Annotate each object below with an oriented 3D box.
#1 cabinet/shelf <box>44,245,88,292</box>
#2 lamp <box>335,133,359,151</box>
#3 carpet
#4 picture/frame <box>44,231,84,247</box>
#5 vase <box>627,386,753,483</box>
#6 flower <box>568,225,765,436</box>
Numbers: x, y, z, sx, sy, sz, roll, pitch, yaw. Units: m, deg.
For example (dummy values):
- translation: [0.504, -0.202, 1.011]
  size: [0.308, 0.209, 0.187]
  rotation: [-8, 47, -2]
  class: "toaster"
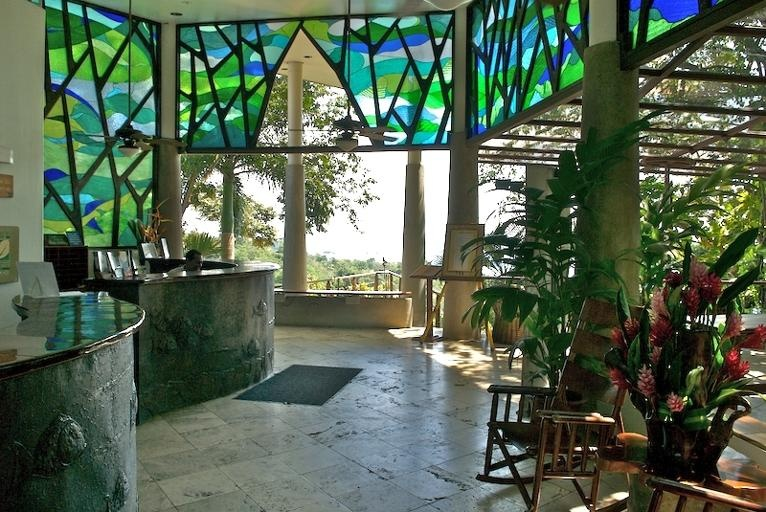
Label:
- translation: [-4.252, 0.164, 7.522]
  size: [0.241, 0.652, 0.671]
  rotation: [-1, -1, 31]
  class: "cabinet/shelf"
- translation: [-0.485, -1.583, 7.759]
  size: [0.230, 0.054, 0.232]
  rotation: [13, -11, -32]
  class: "lamp"
- translation: [-1.037, 1.689, 7.461]
  size: [1.145, 0.041, 1.695]
  rotation: [2, 6, 16]
  class: "carpet"
- translation: [-4.853, -0.257, 8.605]
  size: [0.430, 0.199, 0.781]
  rotation: [2, 6, 15]
  class: "picture/frame"
- translation: [1.865, 1.081, 3.354]
  size: [0.324, 0.502, 0.539]
  rotation: [11, -9, -43]
  class: "vase"
- translation: [2.033, 0.475, 3.837]
  size: [1.132, 1.532, 1.168]
  rotation: [4, -5, -35]
  class: "flower"
